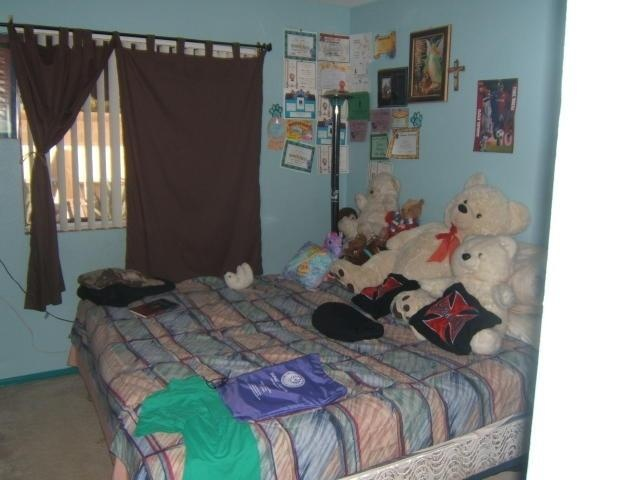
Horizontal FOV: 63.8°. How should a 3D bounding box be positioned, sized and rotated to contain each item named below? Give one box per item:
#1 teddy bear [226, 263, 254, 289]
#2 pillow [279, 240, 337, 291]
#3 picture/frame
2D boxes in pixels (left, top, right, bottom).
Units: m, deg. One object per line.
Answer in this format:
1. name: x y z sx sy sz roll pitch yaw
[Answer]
1. teddy bear: -0.465 0.220 3.061 0.177 0.128 0.107 -14 20 -41
2. pillow: -0.065 0.149 3.090 0.252 0.259 0.103 24 -16 41
3. picture/frame: 0.681 -1.092 3.227 0.073 0.439 0.381 -5 15 -21
